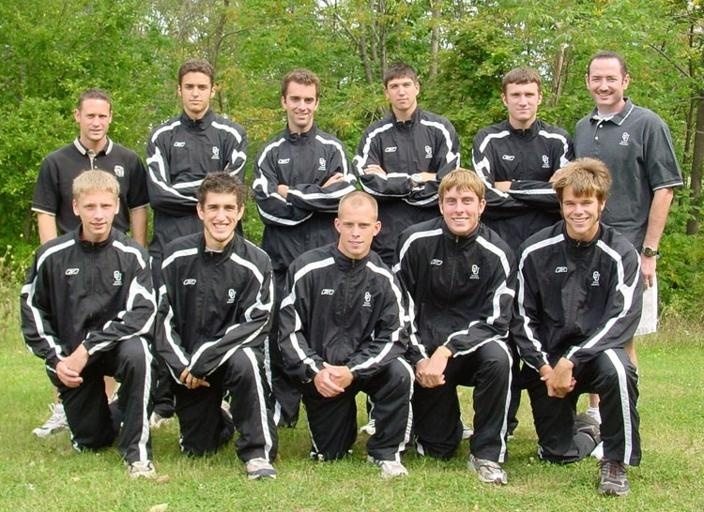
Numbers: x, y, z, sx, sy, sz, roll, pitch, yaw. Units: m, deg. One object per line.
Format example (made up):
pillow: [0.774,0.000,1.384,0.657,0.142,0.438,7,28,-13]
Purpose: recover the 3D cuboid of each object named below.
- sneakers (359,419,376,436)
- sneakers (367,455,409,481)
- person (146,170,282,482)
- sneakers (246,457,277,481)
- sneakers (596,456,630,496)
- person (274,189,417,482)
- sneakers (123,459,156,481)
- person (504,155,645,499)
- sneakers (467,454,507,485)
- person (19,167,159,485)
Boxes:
sneakers: [0.175,1.792,7.348,0.198,0.112,0.249,-1,-5,1]
sneakers: [0.333,1.877,6.287,0.246,0.103,0.379,-3,6,-27]
person: [-1.169,0.569,6.398,1.260,2.620,0.725,3,6,25]
sneakers: [-0.780,1.831,6.049,0.263,0.138,0.194,-1,6,-10]
sneakers: [2.191,1.860,5.875,0.230,0.232,0.216,2,6,21]
person: [-0.045,0.664,6.400,1.228,2.482,0.677,1,6,4]
sneakers: [-1.790,1.838,6.022,0.234,0.103,0.218,-1,6,-16]
person: [2.039,0.530,6.297,1.231,2.795,0.864,5,8,41]
sneakers: [1.198,1.907,6.197,0.148,0.138,0.314,6,-4,-29]
person: [-2.287,0.543,6.421,1.326,2.626,0.745,2,6,21]
